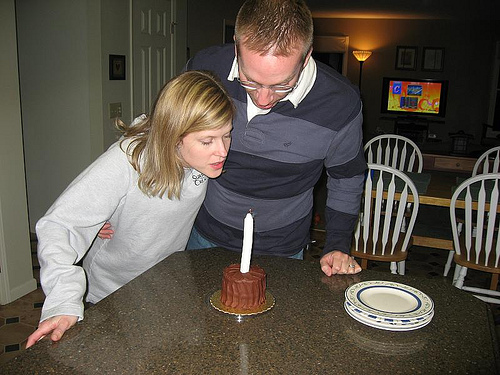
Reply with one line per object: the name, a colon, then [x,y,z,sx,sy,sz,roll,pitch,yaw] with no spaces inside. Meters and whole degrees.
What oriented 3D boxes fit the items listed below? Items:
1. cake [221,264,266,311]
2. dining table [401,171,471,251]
cake: [-0.021,0.284,1.040,0.119,0.072,0.117,2,8,4]
dining table: [1.737,0.241,3.403,0.504,0.436,0.920,1,10,14]
